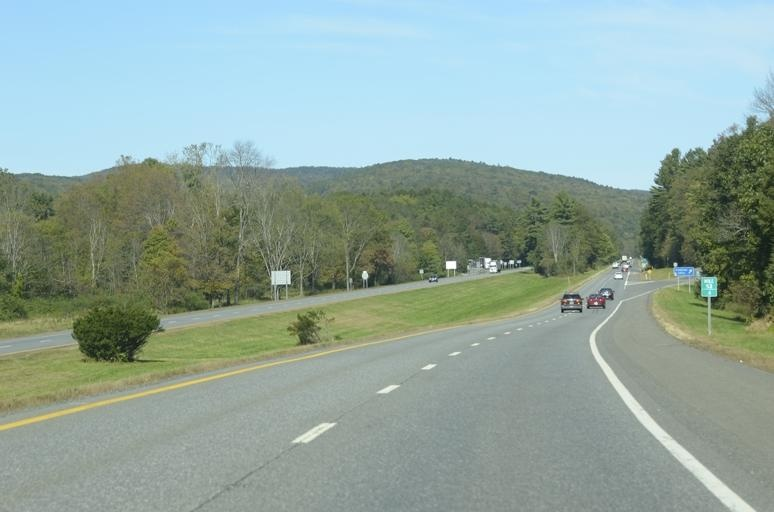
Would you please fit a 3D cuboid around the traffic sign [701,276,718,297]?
[{"bbox_3d":[16.255,1.584,38.998,0.673,0.698,1.106,-2,-1,18],"label":"traffic sign"}]

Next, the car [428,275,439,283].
[{"bbox_3d":[8.592,4.190,141.152,1.104,0.950,1.784,5,5,37],"label":"car"}]
